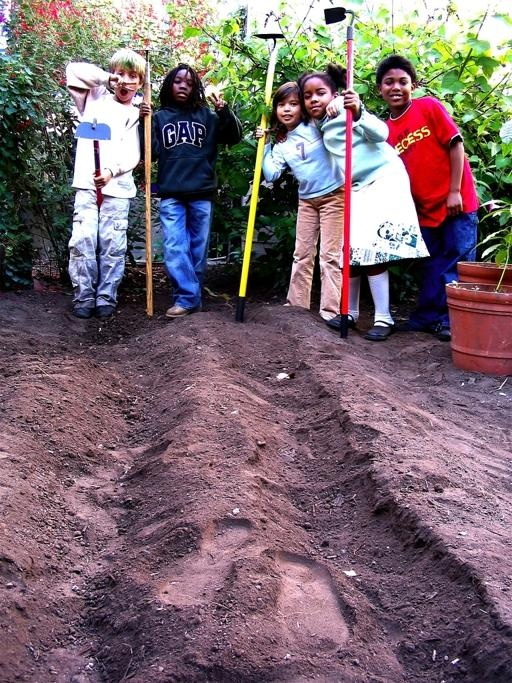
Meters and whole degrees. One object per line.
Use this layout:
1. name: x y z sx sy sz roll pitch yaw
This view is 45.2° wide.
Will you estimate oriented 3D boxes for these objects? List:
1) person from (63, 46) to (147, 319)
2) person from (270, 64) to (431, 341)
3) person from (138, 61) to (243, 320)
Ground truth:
1. person: -1.185 -1.177 4.728 0.419 1.977 0.548 10 12 30
2. person: 0.751 -0.974 4.382 0.984 1.940 0.555 5 11 11
3. person: -0.533 -1.145 4.816 0.551 1.887 0.580 -6 14 -43
